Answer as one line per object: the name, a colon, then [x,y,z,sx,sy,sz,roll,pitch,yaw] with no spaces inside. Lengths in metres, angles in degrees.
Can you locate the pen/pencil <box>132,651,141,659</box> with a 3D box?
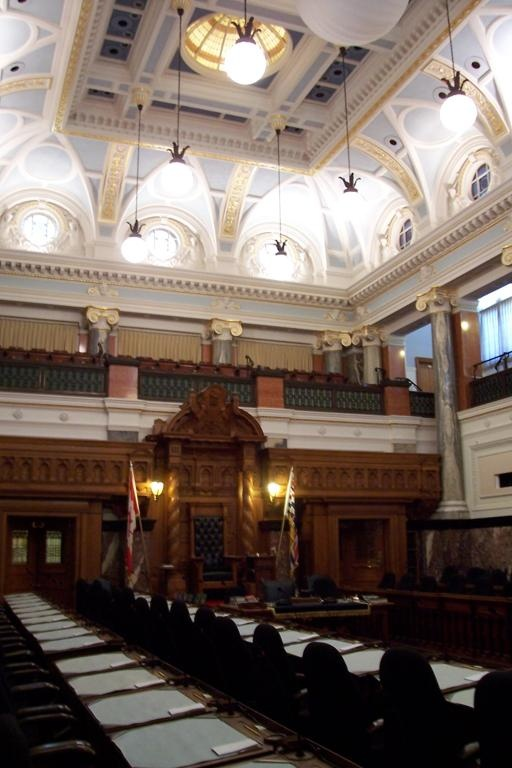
pen/pencil: [-0.560,1.284,2.971,0.028,0.027,0.103,17,-12,-8]

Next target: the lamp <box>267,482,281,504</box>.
lamp: [0.336,2.051,11.849,0.355,0.469,0.323,0,1,-3]
